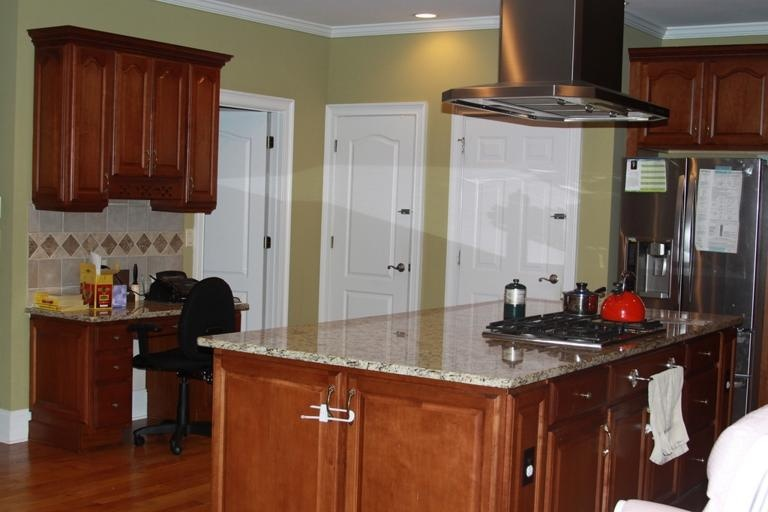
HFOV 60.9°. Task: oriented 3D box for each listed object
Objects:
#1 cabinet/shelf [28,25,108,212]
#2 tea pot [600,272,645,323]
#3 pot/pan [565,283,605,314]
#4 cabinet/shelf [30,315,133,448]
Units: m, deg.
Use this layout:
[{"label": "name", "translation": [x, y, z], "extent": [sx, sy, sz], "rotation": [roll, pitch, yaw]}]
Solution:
[{"label": "cabinet/shelf", "translation": [-2.325, -0.986, 4.767], "extent": [0.587, 1.297, 0.315], "rotation": [2, 8, -9]}, {"label": "tea pot", "translation": [1.460, 0.241, 3.956], "extent": [0.235, 0.278, 0.344], "rotation": [5, 4, 41]}, {"label": "pot/pan", "translation": [1.256, 0.270, 4.097], "extent": [0.170, 0.111, 0.275], "rotation": [-2, -5, 29]}, {"label": "cabinet/shelf", "translation": [-2.261, 0.933, 4.807], "extent": [0.755, 1.006, 0.418], "rotation": [2, 8, -13]}]
